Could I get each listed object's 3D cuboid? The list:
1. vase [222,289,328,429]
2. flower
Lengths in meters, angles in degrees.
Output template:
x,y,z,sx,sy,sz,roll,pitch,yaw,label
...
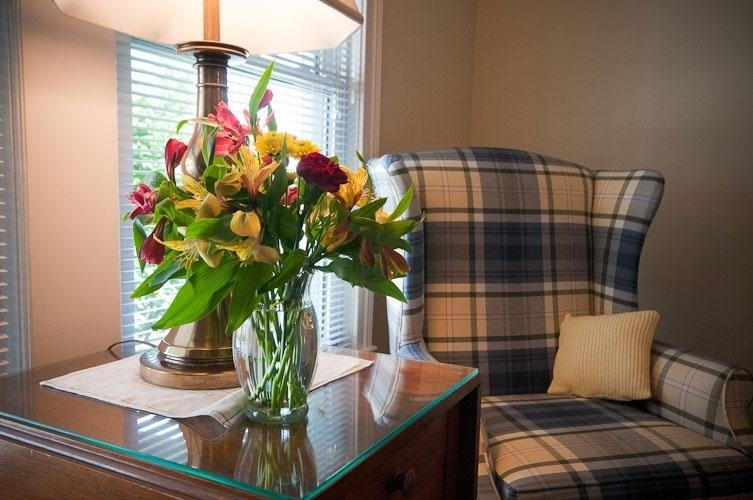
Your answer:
x,y,z,sx,sy,sz,roll,pitch,yaw,label
-0.210,0.201,1.105,0.179,0.288,0.180,-1,3,-35,vase
-0.128,0.023,1.109,0.607,0.596,0.545,-4,-17,27,flower
